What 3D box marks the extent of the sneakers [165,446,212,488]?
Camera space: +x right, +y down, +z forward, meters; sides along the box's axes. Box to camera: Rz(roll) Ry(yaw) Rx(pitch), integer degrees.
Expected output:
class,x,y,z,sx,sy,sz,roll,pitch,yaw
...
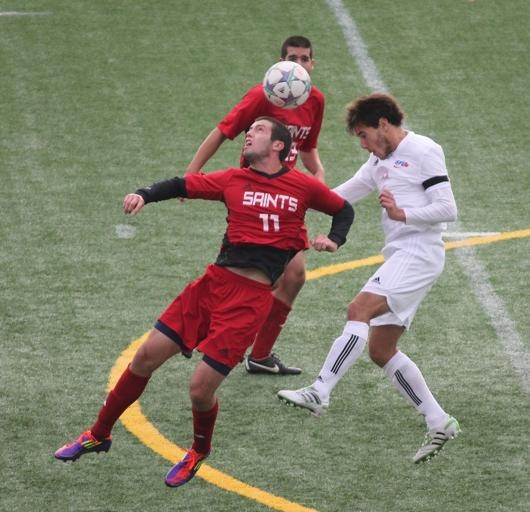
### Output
class,x,y,z,sx,sy,sz,roll,pitch,yaw
sneakers,-0.524,1.404,7.511,0.131,0.367,0.143,50,-13,5

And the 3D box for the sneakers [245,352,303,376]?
class,x,y,z,sx,sy,sz,roll,pitch,yaw
sneakers,0.032,0.820,8.602,0.494,0.170,0.150,2,3,-5

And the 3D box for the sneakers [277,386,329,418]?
class,x,y,z,sx,sy,sz,roll,pitch,yaw
sneakers,0.265,0.983,7.728,0.410,0.191,0.141,18,-17,-2

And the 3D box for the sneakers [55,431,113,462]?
class,x,y,z,sx,sy,sz,roll,pitch,yaw
sneakers,-1.202,1.261,7.586,0.439,0.180,0.162,-10,4,-10
